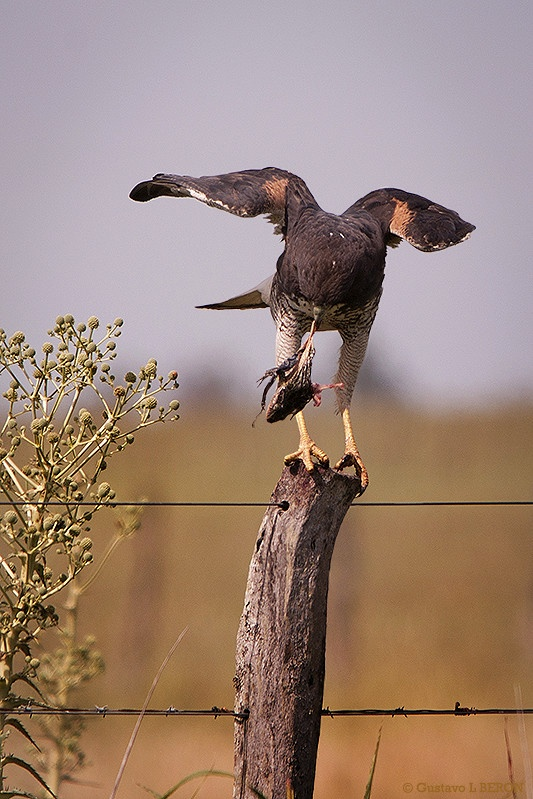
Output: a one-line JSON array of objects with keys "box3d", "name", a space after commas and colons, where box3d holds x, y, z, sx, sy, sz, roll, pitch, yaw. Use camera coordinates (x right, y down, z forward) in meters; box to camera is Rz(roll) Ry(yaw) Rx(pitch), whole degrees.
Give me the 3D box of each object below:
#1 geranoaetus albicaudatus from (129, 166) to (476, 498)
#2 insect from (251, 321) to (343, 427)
[{"box3d": [0.192, -0.244, 4.222, 1.359, 0.797, 0.879, 5, 10, -1], "name": "geranoaetus albicaudatus"}, {"box3d": [0.069, -0.039, 3.558, 0.210, 0.257, 0.166, -18, -61, 13], "name": "insect"}]
